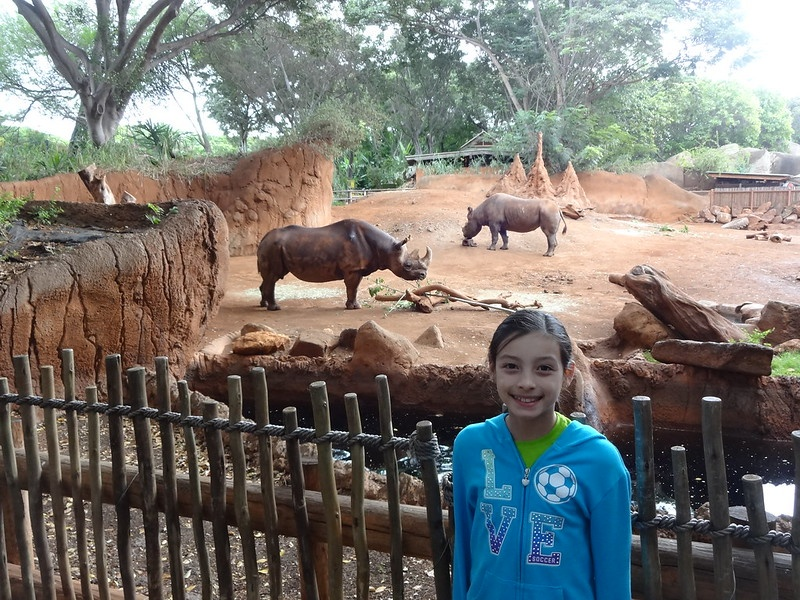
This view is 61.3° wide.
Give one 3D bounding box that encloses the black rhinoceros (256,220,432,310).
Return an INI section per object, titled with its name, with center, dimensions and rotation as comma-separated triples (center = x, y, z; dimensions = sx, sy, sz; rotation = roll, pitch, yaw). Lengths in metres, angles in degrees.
[black rhinoceros]
center = -0.974, -0.551, 11.337
dimensions = 2.880, 1.623, 0.889
rotation = 0, 11, -3
